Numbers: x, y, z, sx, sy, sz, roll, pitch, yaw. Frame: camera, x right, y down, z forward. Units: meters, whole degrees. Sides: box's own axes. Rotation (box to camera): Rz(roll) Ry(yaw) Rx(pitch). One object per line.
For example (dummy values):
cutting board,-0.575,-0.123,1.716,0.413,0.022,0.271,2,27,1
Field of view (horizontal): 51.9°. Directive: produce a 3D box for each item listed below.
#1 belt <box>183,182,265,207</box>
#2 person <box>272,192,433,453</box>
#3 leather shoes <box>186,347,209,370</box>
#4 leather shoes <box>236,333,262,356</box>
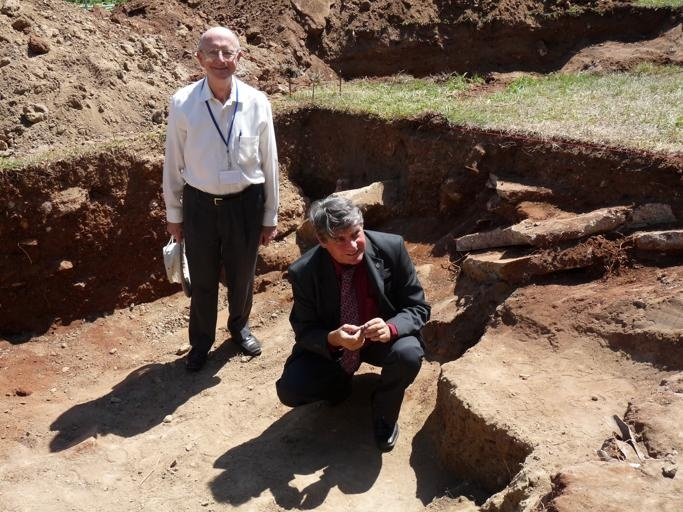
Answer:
belt,-0.994,-0.495,5.911,0.695,0.210,0.184,-6,32,-6
person,0.098,0.471,5.338,1.071,1.825,0.877,7,33,15
leather shoes,-1.336,0.955,6.438,0.109,0.127,0.300,26,1,-25
leather shoes,-0.869,0.843,6.568,0.312,0.123,0.136,25,49,29
